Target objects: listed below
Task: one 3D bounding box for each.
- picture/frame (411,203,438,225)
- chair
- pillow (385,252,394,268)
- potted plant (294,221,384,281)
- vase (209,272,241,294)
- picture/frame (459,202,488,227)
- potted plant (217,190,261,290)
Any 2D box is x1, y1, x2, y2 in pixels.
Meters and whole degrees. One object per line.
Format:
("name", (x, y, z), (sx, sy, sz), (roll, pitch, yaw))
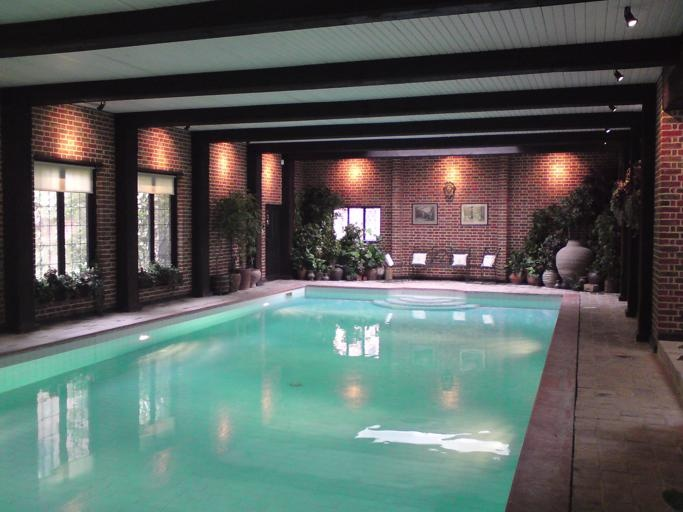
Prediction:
("picture/frame", (2.713, -1.361, 15.479), (0.704, 0.602, 0.055), (1, 4, 24))
("chair", (3.483, 0.242, 14.885), (3.022, 1.090, 0.768), (1, 4, 19))
("pillow", (1.513, 0.133, 15.240), (0.300, 0.381, 0.658), (0, 4, 5))
("potted plant", (-0.140, -0.093, 15.247), (2.128, 1.550, 1.957), (1, -1, 24))
("vase", (-2.824, 0.672, 11.603), (0.461, 0.333, 0.528), (0, -6, 0))
("picture/frame", (4.143, -1.308, 14.939), (0.741, 0.638, 0.049), (1, 5, 24))
("potted plant", (-2.594, -0.416, 12.315), (0.854, 2.513, 1.476), (0, 4, 9))
